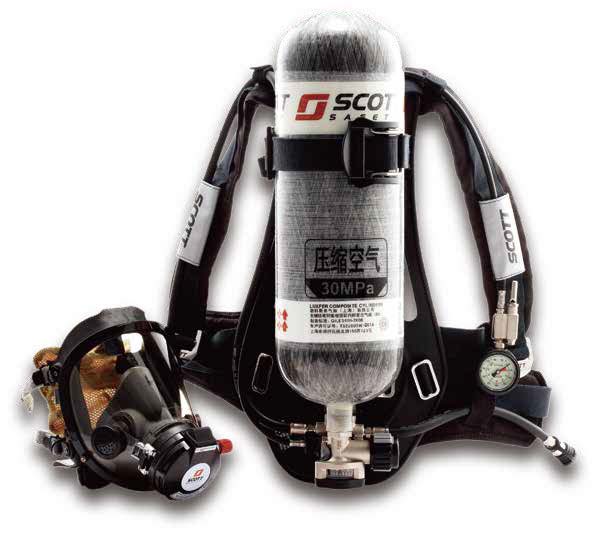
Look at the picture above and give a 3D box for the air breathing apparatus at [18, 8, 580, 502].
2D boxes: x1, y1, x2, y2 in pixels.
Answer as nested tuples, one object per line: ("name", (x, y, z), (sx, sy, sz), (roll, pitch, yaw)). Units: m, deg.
("air breathing apparatus", (0.070, 0.105, 2.568), (1.876, 1.675, 0.804), (0, 3, 1))
